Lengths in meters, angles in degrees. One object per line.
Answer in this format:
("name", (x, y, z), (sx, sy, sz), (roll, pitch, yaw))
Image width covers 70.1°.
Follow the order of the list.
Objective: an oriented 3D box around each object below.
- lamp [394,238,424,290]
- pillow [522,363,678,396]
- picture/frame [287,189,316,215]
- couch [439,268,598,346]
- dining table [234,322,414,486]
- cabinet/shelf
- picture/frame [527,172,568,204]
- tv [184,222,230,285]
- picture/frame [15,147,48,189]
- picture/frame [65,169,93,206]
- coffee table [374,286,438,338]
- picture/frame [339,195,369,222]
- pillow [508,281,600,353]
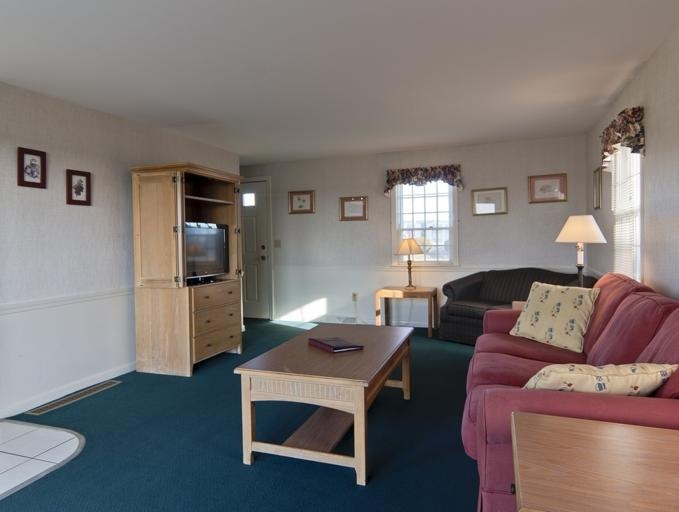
("lamp", (0.973, 0.084, 6.481), (0.335, 0.667, 0.522), (0, 10, 7))
("pillow", (1.325, 0.619, 2.431), (0.723, 0.165, 0.169), (-1, 10, -2))
("picture/frame", (-0.547, -0.815, 7.155), (0.378, 0.312, 0.030), (1, 2, 22))
("couch", (1.981, 0.599, 5.617), (0.865, 0.952, 1.533), (1, 1, -39))
("dining table", (-0.129, 0.902, 3.339), (0.785, 0.549, 1.332), (0, 2, 18))
("cabinet/shelf", (-1.559, 0.074, 5.252), (0.851, 2.082, 1.458), (2, 10, 16))
("picture/frame", (2.647, -0.859, 6.065), (0.408, 0.358, 0.040), (0, 6, 26))
("tv", (-1.426, -0.068, 4.989), (0.086, 0.562, 0.785), (0, 2, 18))
("picture/frame", (-2.636, -0.747, 4.112), (0.048, 0.344, 0.260), (3, 11, 23))
("picture/frame", (-2.426, -0.633, 4.449), (0.027, 0.396, 0.337), (2, 5, 24))
("coffee table", (0.911, 0.703, 6.404), (0.768, 0.550, 0.497), (0, 3, 15))
("picture/frame", (0.226, -0.688, 6.891), (0.370, 0.319, 0.028), (1, 1, 20))
("pillow", (1.704, 0.463, 3.754), (0.165, 0.520, 0.542), (30, -9, -25))
